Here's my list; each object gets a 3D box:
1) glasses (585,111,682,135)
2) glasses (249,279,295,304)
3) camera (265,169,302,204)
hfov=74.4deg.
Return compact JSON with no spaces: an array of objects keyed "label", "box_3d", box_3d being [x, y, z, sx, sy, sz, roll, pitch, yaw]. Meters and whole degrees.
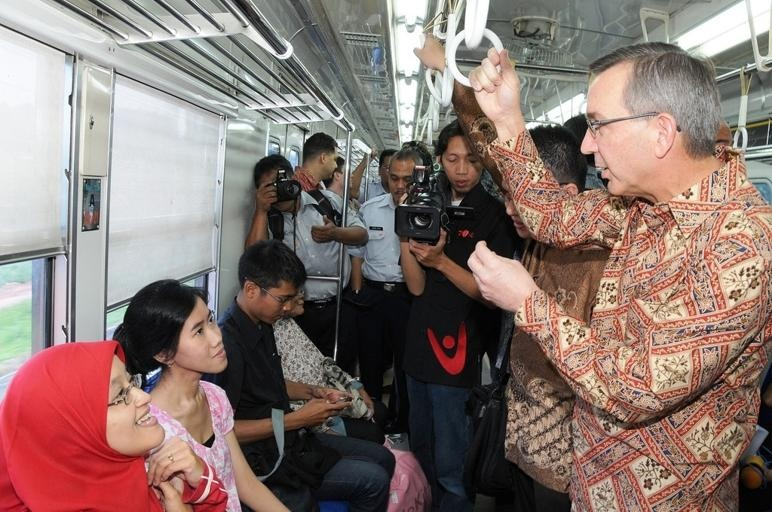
[{"label":"glasses","box_3d":[0.864,-0.462,1.788,0.288,0.091,0.076,-5,2,27]},{"label":"glasses","box_3d":[-0.692,0.227,3.176,0.182,0.055,0.182,19,1,22]},{"label":"camera","box_3d":[-0.896,-0.636,4.501,0.304,0.242,0.277,-1,27,24]}]
